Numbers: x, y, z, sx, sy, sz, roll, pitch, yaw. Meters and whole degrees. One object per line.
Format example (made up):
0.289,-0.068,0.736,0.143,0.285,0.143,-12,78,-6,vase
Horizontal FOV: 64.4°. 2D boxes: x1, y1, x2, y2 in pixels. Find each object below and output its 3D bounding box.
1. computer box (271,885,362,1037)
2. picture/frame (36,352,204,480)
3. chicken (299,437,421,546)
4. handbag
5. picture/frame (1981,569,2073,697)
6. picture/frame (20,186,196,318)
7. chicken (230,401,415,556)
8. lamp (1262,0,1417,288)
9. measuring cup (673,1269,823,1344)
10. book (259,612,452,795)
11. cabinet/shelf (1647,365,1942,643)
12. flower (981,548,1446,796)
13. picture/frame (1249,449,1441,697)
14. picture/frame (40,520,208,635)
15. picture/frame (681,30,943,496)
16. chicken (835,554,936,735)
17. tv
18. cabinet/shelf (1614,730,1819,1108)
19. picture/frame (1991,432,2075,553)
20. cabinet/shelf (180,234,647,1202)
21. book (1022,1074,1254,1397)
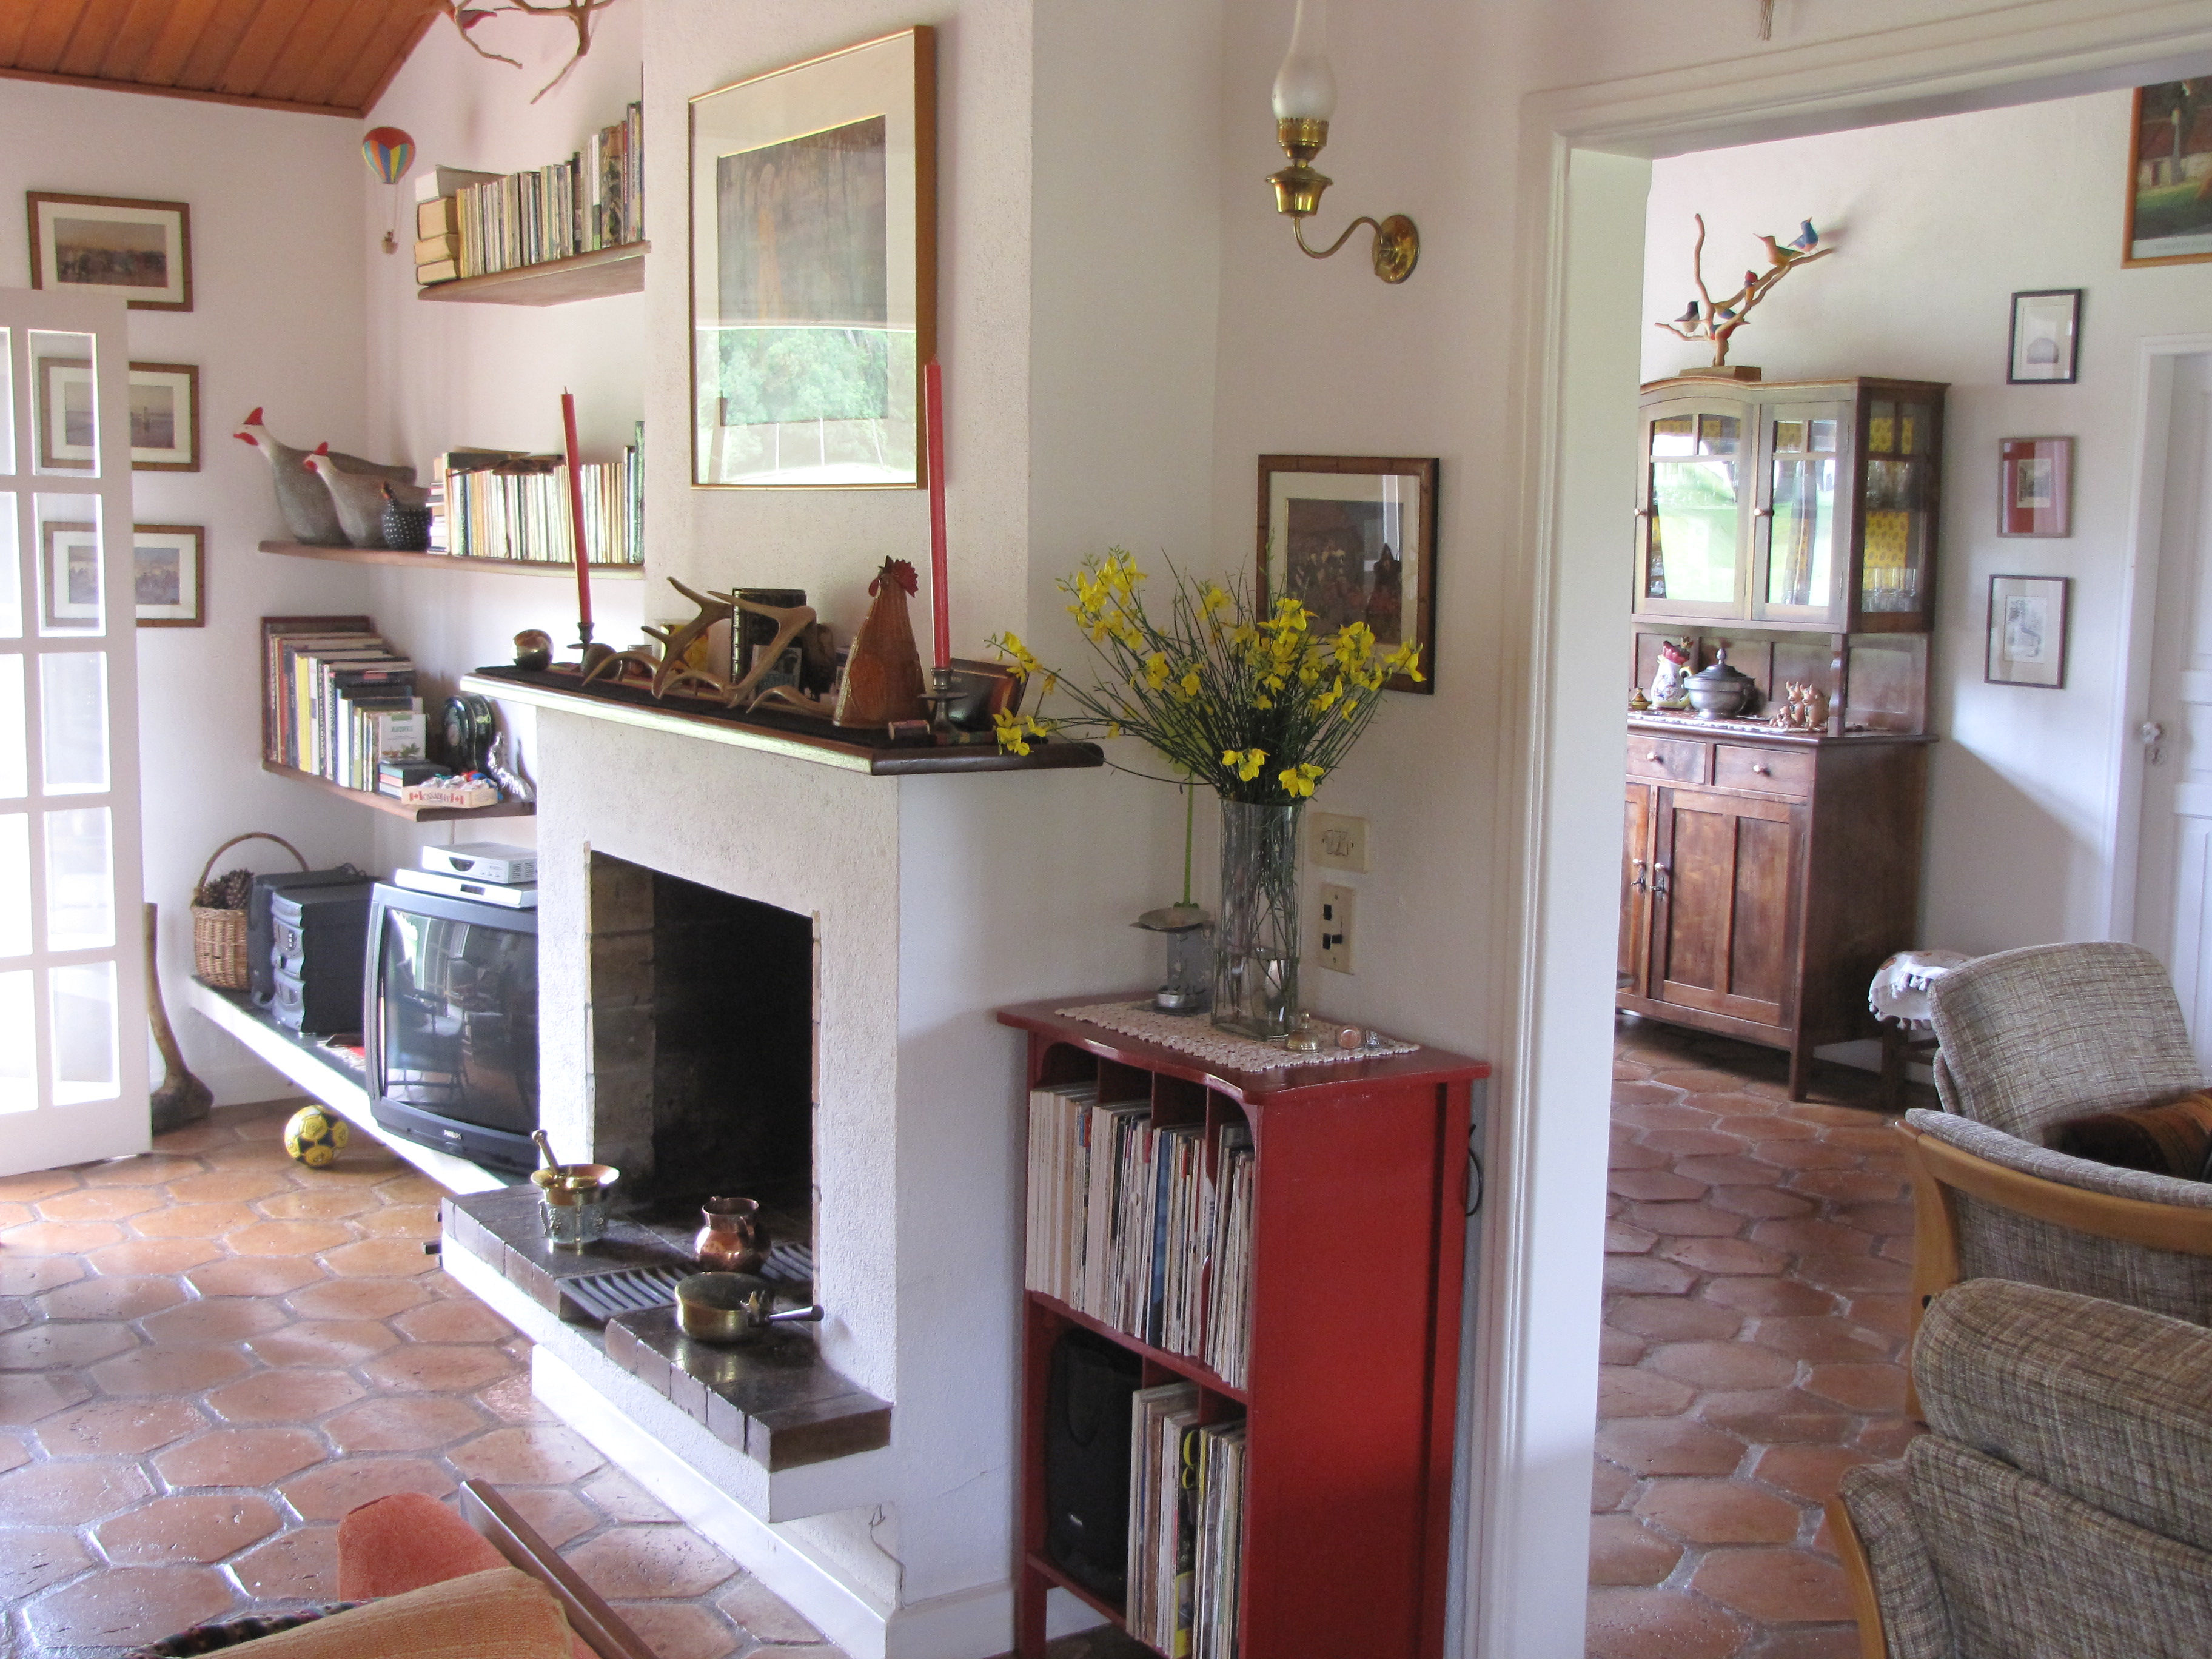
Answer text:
-2.468,0.418,5.570,0.274,0.370,0.367,-3,5,-33,computer box
-3.201,-1.346,5.706,0.483,0.355,0.023,0,3,-16,picture/frame
-2.390,-1.087,5.663,0.336,0.325,0.210,-9,33,-27,chicken
0.004,1.077,3.030,0.238,0.350,0.175,3,4,42,handbag
3.095,-0.682,5.928,0.252,0.364,0.016,4,-1,-1,picture/frame
-3.182,-1.858,5.626,0.463,0.350,0.041,-6,12,-31,picture/frame
-2.499,-1.135,5.722,0.525,0.464,0.199,-2,16,-10,chicken
0.378,-1.060,2.749,0.232,0.380,0.449,1,10,7,lamp
-0.647,0.863,3.189,0.257,0.095,0.116,-2,10,-9,measuring cup
-2.416,-0.422,5.677,0.239,0.425,0.598,0,3,-39,book
2.444,-1.227,6.417,0.415,0.913,1.059,-6,12,-23,cabinet/shelf
0.170,-0.235,2.918,0.513,0.322,0.469,6,4,15,flower
0.399,-0.418,2.852,0.052,0.393,0.379,-6,12,-38,picture/frame
-3.208,-0.835,5.751,0.464,0.338,0.035,-1,-7,-20,picture/frame
-0.540,-1.090,3.328,0.076,0.952,0.986,-4,6,-33,picture/frame
-0.395,-0.325,3.092,0.183,0.329,0.160,-5,-8,-12,chicken
-1.710,0.504,4.631,0.713,0.686,0.412,6,5,44,tv
2.119,0.262,6.052,0.437,1.082,1.134,-2,8,-31,cabinet/shelf
3.096,-1.140,5.854,0.031,0.479,0.355,-8,13,-32,picture/frame
-2.011,-0.369,5.066,0.805,2.395,2.716,-3,9,-36,cabinet/shelf
0.061,0.634,2.815,0.225,0.415,0.541,-3,6,-37,book
